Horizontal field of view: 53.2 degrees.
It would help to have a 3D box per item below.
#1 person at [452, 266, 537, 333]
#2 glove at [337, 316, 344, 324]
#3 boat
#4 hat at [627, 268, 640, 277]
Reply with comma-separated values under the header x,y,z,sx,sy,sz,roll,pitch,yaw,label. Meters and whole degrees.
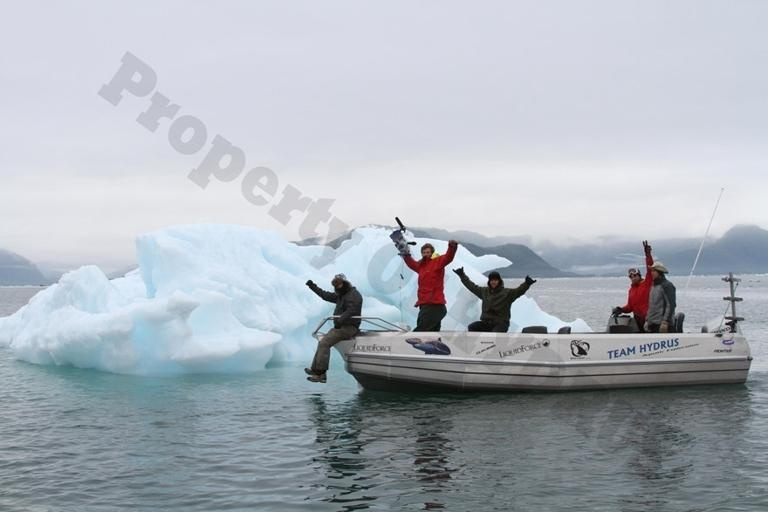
x,y,z,sx,sy,sz,roll,pitch,yaw,label
2.531,1.085,17.964,2.306,1.313,1.149,5,7,44,person
-1.030,1.465,17.693,0.065,0.182,0.231,-9,9,-35,glove
3.562,1.940,19.127,12.405,2.792,3.345,1,-9,-4,boat
5.148,0.351,15.940,0.278,0.261,0.190,-4,3,19,hat
